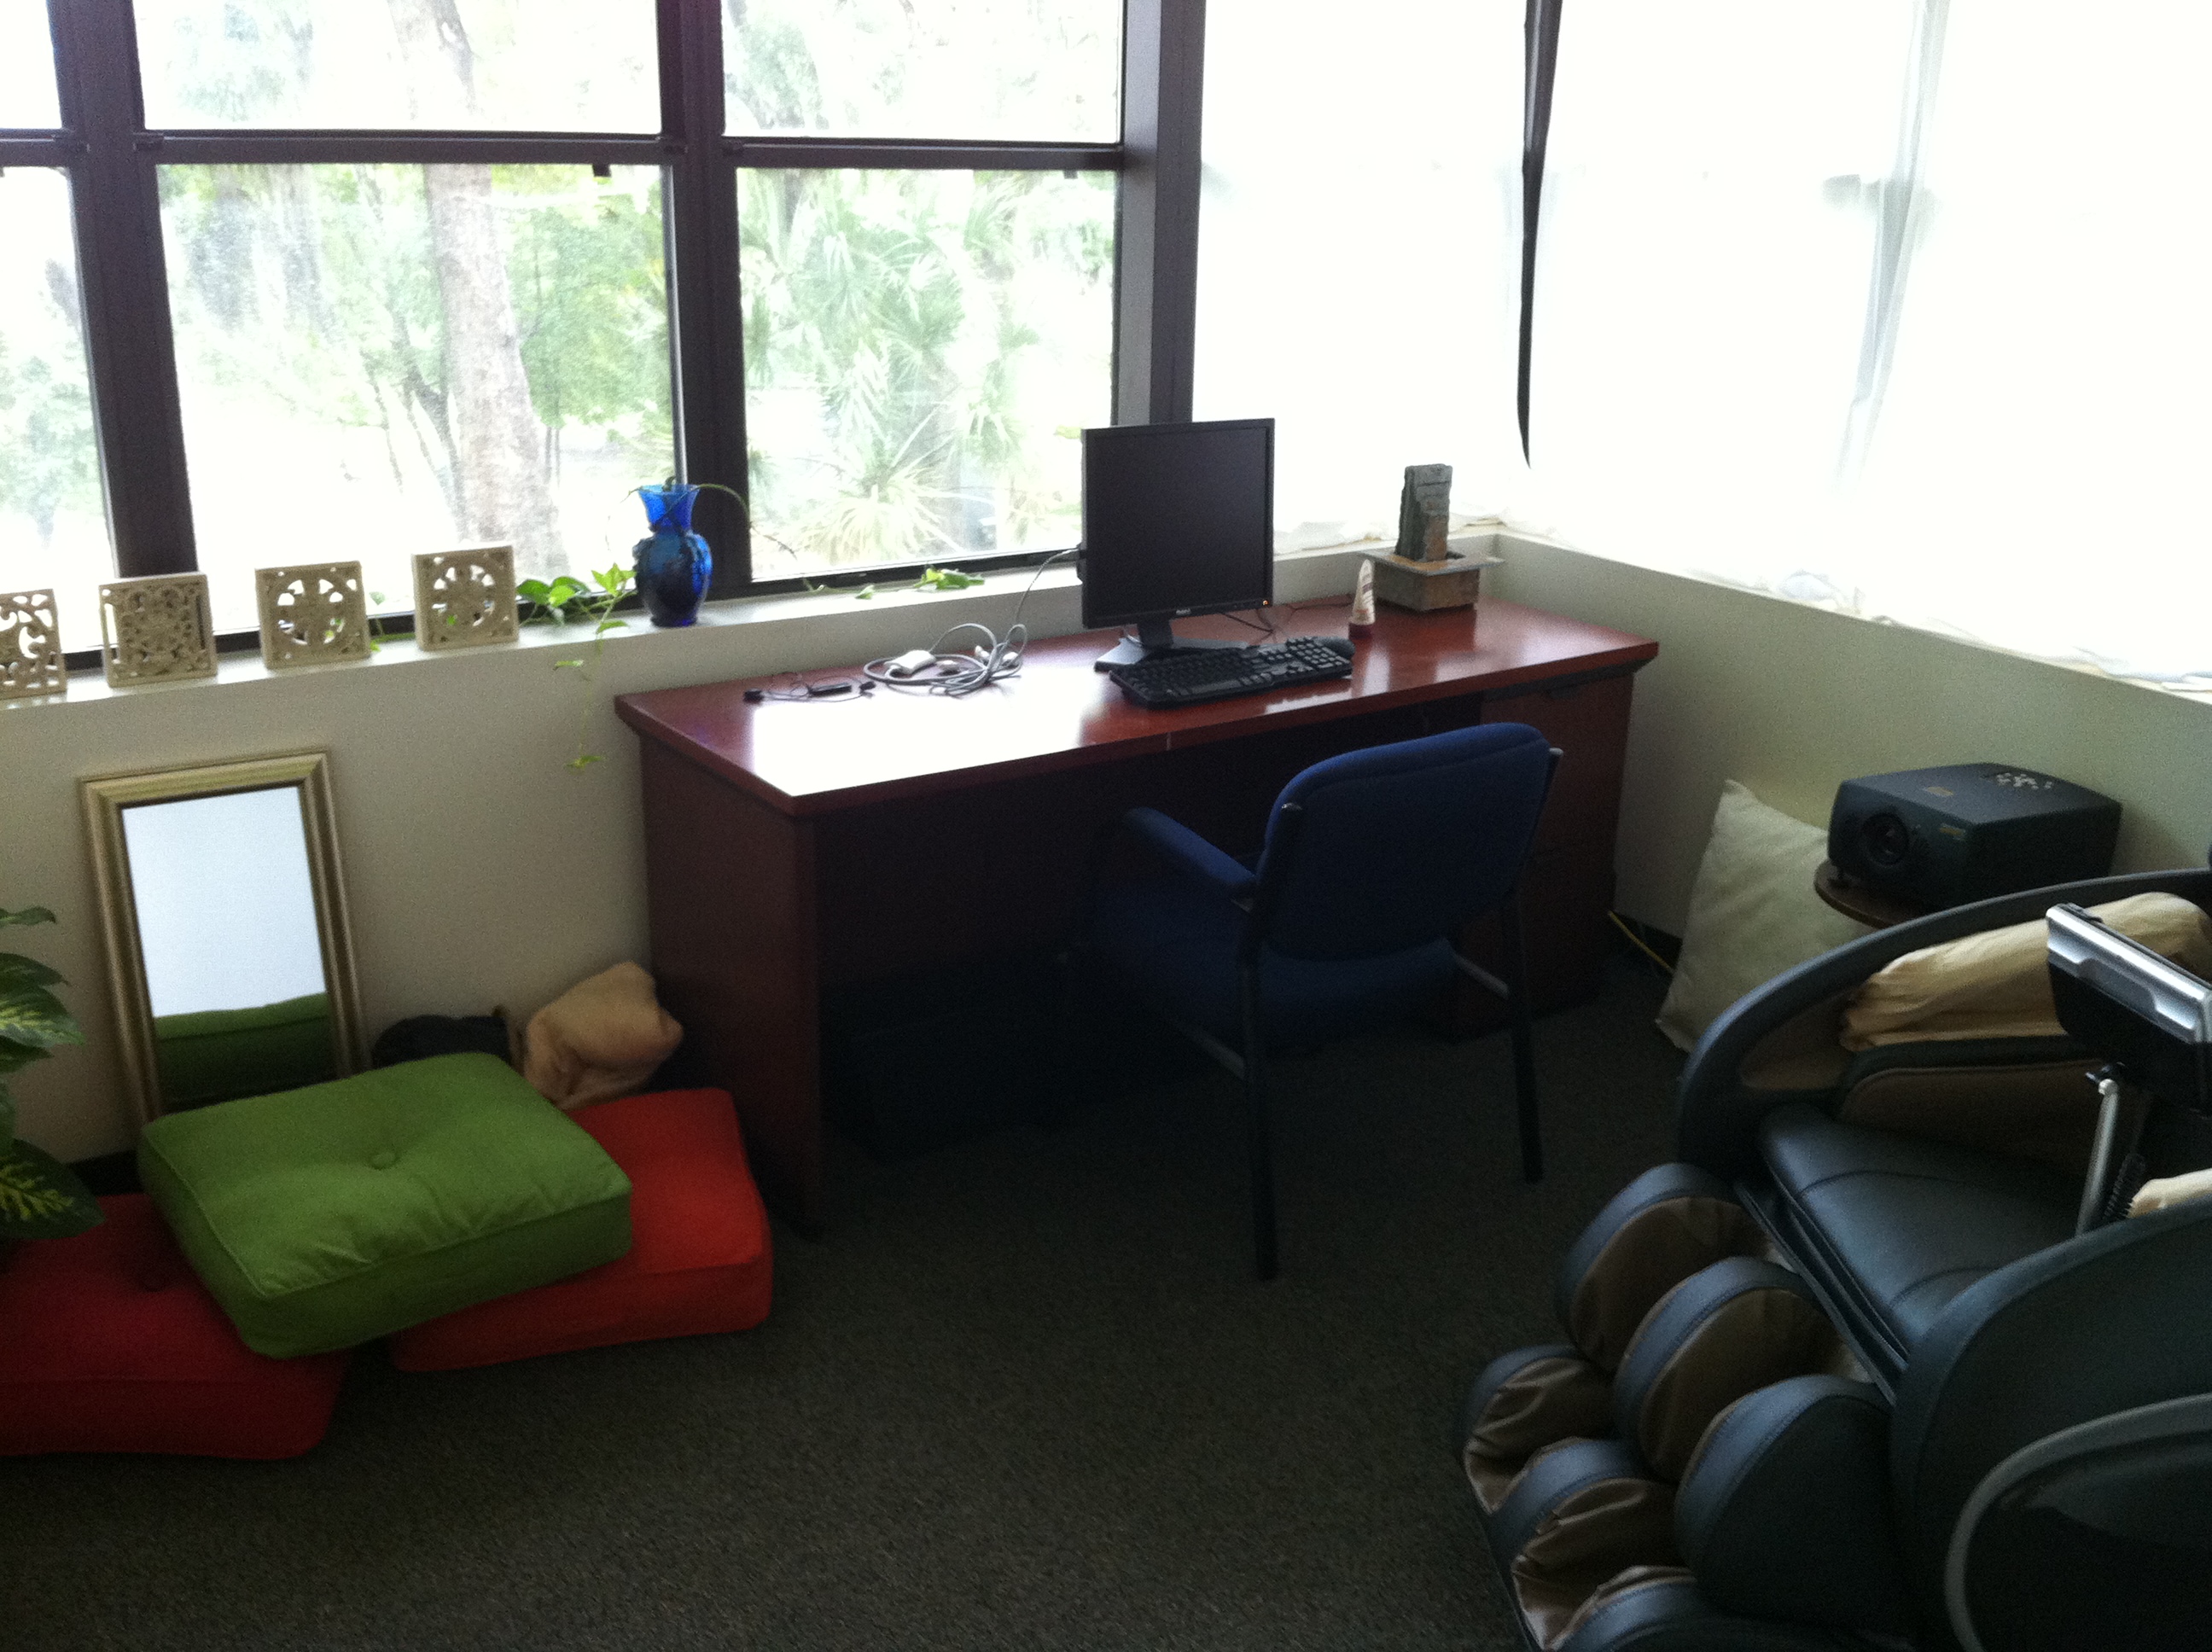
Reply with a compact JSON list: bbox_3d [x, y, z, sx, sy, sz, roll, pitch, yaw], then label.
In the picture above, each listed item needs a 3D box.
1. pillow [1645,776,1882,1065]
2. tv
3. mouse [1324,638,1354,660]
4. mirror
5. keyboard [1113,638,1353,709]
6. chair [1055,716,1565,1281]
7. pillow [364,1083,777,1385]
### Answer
[{"bbox_3d":[1.377,0.192,3.700,0.151,0.511,0.517,7,-21,-4],"label":"pillow"},{"bbox_3d":[0.151,-0.606,3.665,0.453,0.513,0.177,-10,23,-27],"label":"tv"},{"bbox_3d":[0.509,-0.384,3.753,0.045,0.029,0.081,-5,21,-16],"label":"mouse"},{"bbox_3d":[-1.612,0.126,3.189,0.406,0.667,0.053,-10,50,-30],"label":"mirror"},{"bbox_3d":[0.272,-0.323,3.606,0.538,0.044,0.263,-10,27,-21],"label":"keyboard"},{"bbox_3d":[0.440,0.210,3.478,0.935,0.979,0.949,6,20,27],"label":"chair"},{"bbox_3d":[-1.003,0.670,3.356,0.684,0.289,0.706,-15,13,24],"label":"pillow"}]
